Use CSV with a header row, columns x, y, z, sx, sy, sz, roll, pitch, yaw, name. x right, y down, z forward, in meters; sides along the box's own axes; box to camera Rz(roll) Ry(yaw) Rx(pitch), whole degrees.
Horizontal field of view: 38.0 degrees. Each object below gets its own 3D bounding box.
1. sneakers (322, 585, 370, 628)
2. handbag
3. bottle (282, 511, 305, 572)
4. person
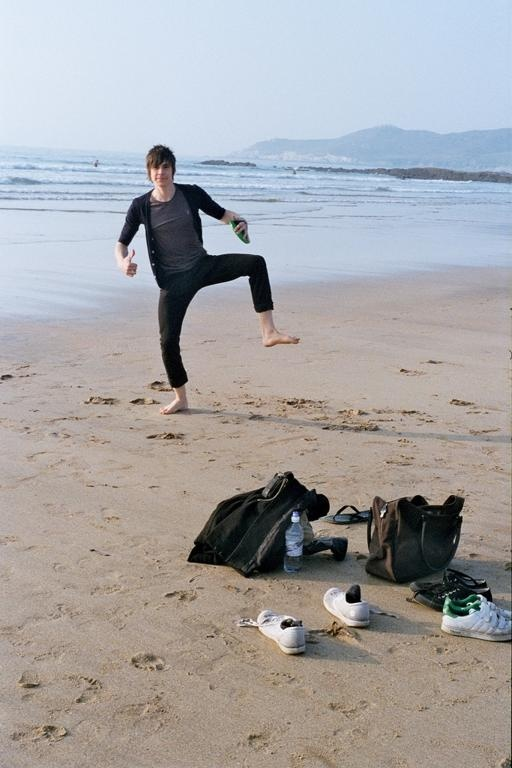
x,y,z,sx,sy,sz,roll,pitch,yaw,name
0.344,0.847,2.886,0.099,0.111,0.239,3,6,-21,sneakers
0.729,0.673,3.322,0.457,0.373,0.314,4,0,-30,handbag
0.162,0.698,3.312,0.076,0.240,0.135,4,15,13,bottle
-0.485,-0.763,5.681,1.138,1.952,0.630,-2,15,-10,person
